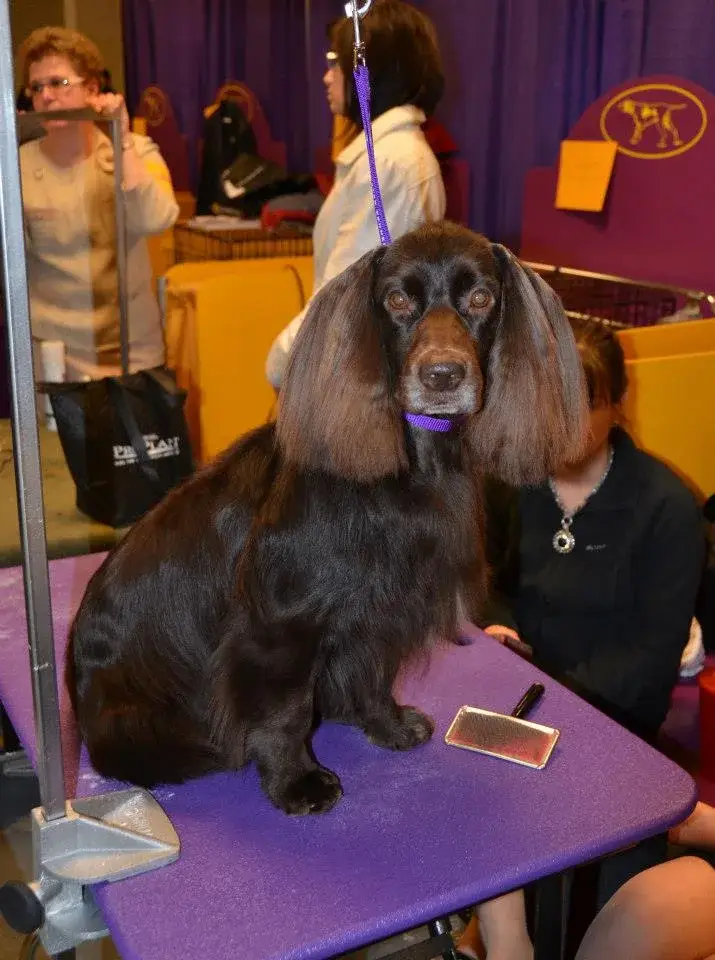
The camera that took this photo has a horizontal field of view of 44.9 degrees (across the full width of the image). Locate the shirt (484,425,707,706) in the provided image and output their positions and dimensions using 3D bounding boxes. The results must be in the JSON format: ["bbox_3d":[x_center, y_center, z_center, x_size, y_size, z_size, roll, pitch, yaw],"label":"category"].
[{"bbox_3d":[0.438,0.174,1.630,0.268,0.441,0.432,-18,37,-35],"label":"shirt"}]

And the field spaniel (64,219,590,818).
[{"bbox_3d":[-0.068,0.059,1.062,0.647,0.602,0.380,-1,9,21],"label":"field spaniel"}]

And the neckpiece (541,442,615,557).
[{"bbox_3d":[0.433,0.032,1.763,0.120,0.213,0.022,14,11,42],"label":"neckpiece"}]

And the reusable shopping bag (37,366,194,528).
[{"bbox_3d":[-0.574,-0.072,2.044,0.334,0.311,0.187,-24,24,-29],"label":"reusable shopping bag"}]

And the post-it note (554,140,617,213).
[{"bbox_3d":[0.818,-1.068,3.095,0.060,0.237,0.245,-9,20,-44],"label":"post-it note"}]
